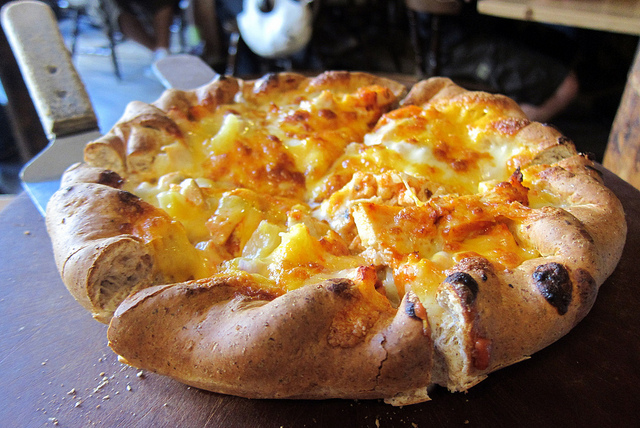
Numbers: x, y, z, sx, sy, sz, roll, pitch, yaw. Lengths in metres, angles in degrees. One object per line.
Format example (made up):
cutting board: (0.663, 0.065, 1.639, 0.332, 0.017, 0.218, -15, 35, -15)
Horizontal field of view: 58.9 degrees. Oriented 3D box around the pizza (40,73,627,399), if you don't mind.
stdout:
pizza: (0.166, 0.032, 2.298, 1.710, 0.236, 1.558, 24, 40, 34)
